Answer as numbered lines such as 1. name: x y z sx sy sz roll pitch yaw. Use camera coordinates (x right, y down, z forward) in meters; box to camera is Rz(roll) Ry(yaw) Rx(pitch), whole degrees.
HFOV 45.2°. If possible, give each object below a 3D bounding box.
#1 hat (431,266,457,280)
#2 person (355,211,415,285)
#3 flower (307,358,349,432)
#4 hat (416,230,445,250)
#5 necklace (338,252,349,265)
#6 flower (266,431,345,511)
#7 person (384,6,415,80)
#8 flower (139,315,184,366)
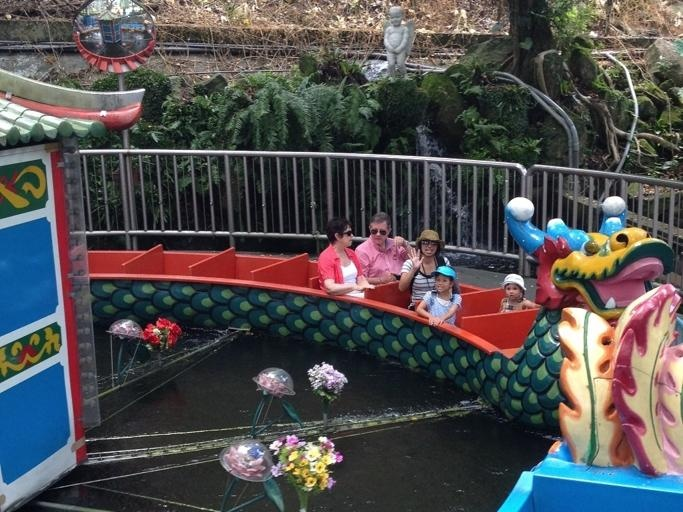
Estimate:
1. hat: 1.068 0.167 8.219 0.121 0.077 0.177 8 -8 26
2. person: 0.509 -0.076 9.619 0.677 1.059 0.550 -8 10 -24
3. flower: -0.124 1.212 6.964 0.256 0.461 0.277 10 1 -5
4. hat: 0.975 -0.175 8.929 0.189 0.105 0.259 2 -17 3
5. necklace: 0.024 0.029 9.087 0.026 0.128 0.124 -3 -21 38
6. flower: -0.248 1.538 5.697 0.448 0.649 0.297 5 20 5
7. person: 0.979 -3.697 14.175 0.506 1.175 0.650 4 21 3
8. flower: -1.871 0.894 8.742 0.409 0.469 0.386 -6 0 39
